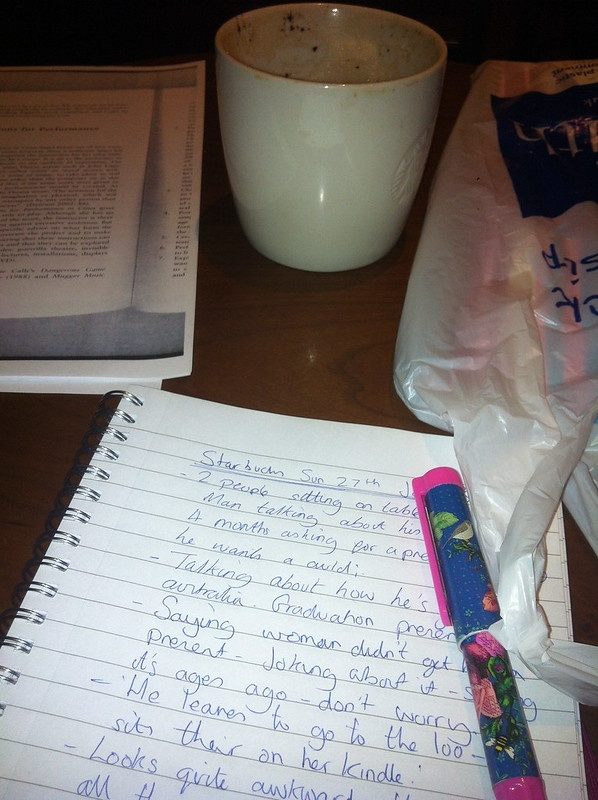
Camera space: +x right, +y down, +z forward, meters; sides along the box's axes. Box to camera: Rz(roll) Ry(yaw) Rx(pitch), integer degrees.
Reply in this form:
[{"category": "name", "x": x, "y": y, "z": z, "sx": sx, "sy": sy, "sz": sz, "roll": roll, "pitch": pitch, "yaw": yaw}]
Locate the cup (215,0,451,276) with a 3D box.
[{"category": "cup", "x": 0.016, "y": -0.196, "z": 0.571, "sx": 0.179, "sy": 0.154, "sz": 0.202, "roll": 27, "pitch": 45, "yaw": 21}]
